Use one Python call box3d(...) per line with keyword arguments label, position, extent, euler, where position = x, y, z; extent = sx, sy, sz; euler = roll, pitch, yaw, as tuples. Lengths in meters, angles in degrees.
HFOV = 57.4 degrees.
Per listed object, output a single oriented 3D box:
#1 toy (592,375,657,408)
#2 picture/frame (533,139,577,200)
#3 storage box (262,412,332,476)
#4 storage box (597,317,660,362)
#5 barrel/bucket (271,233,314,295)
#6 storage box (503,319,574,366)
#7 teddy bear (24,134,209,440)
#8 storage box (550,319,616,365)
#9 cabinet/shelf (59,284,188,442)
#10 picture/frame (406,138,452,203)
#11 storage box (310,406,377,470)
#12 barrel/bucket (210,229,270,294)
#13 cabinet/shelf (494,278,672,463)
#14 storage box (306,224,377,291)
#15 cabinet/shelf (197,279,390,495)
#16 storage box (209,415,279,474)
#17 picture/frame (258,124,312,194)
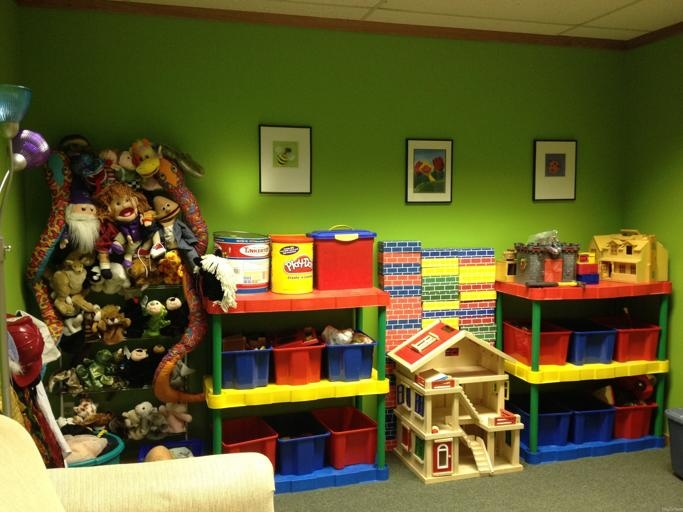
box3d(label="toy", position=(2.022, 0.956, 4.433), extent=(0.285, 0.127, 0.413), euler=(0, 0, 29))
box3d(label="picture/frame", position=(1.561, -0.648, 4.611), extent=(0.486, 0.593, 0.046), euler=(0, 2, -14))
box3d(label="storage box", position=(-0.332, 1.268, 4.133), extent=(0.378, 0.227, 0.504), euler=(1, -6, -31))
box3d(label="storage box", position=(2.038, 0.595, 4.474), extent=(0.250, 0.163, 0.375), euler=(0, 3, -5))
box3d(label="barrel/bucket", position=(-0.326, 0.055, 3.968), extent=(0.287, 0.322, 0.302), euler=(-1, 0, 0))
box3d(label="storage box", position=(1.459, 0.661, 4.447), extent=(0.310, 0.210, 0.458), euler=(3, -10, 15))
box3d(label="teddy bear", position=(-1.359, 0.097, 3.861), extent=(1.040, 1.647, 0.362), euler=(-1, 9, -6))
box3d(label="storage box", position=(1.705, 0.602, 4.429), extent=(0.246, 0.167, 0.363), euler=(1, 3, -2))
box3d(label="cabinet/shelf", position=(-1.374, 0.653, 3.891), extent=(1.064, 1.158, 0.355), euler=(0, 7, -16))
box3d(label="picture/frame", position=(0.600, -0.612, 4.392), extent=(0.500, 0.581, 0.039), euler=(0, 1, -17))
box3d(label="storage box", position=(0.043, 1.187, 4.137), extent=(0.290, 0.178, 0.410), euler=(-1, 4, -20))
box3d(label="barrel/bucket", position=(-0.662, 0.023, 3.882), extent=(0.374, 0.375, 0.354), euler=(0, 6, 0))
box3d(label="cabinet/shelf", position=(1.832, 0.668, 4.398), extent=(0.916, 0.830, 0.692), euler=(-6, -6, 20))
box3d(label="storage box", position=(-0.020, 0.015, 4.104), extent=(0.448, 0.373, 0.350), euler=(-3, 3, -25))
box3d(label="cabinet/shelf", position=(-0.318, 0.800, 3.850), extent=(1.369, 1.200, 0.615), euler=(-1, 6, -14))
box3d(label="storage box", position=(-0.592, 1.164, 4.006), extent=(0.342, 0.192, 0.325), euler=(1, 1, -19))
box3d(label="picture/frame", position=(-0.389, -0.655, 4.157), extent=(0.513, 0.615, 0.041), euler=(0, 0, -19))
